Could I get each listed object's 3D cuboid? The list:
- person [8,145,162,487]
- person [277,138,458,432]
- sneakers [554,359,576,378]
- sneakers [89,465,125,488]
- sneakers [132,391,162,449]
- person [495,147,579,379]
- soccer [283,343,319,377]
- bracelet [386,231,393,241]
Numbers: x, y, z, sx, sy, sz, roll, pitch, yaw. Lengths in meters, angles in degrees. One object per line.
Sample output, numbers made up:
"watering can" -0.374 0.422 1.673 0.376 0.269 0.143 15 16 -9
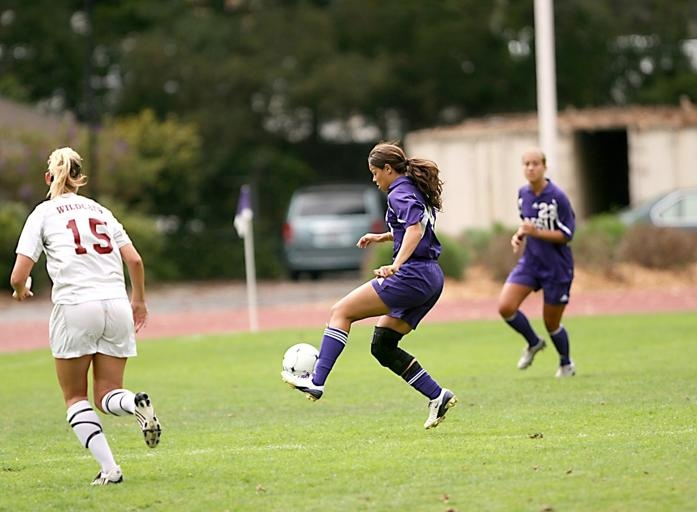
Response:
"person" -2.107 0.461 9.040 1.076 2.646 0.722 -4 5 -7
"person" 0.293 0.256 9.872 1.143 2.459 0.481 -3 5 0
"sneakers" 2.258 1.194 11.768 0.239 0.153 0.117 -1 -2 -5
"sneakers" -1.894 1.735 8.921 0.292 0.117 0.113 -8 -12 19
"sneakers" -1.630 1.247 8.892 0.178 0.494 0.245 -19 3 -14
"person" 1.953 0.094 11.717 0.789 2.363 0.793 -2 5 8
"soccer" -0.429 0.950 10.093 0.319 0.244 0.249 -7 38 -4
"bracelet" 0.380 -0.176 10.280 0.053 0.060 0.068 5 27 36
